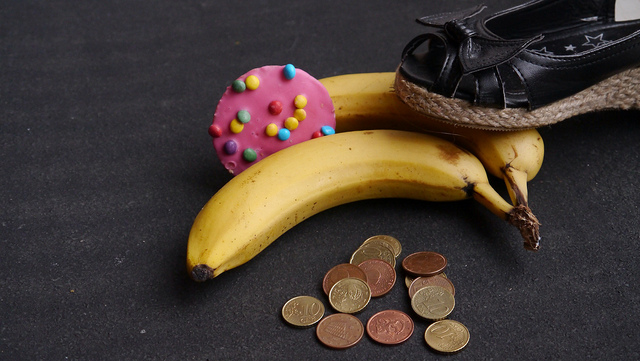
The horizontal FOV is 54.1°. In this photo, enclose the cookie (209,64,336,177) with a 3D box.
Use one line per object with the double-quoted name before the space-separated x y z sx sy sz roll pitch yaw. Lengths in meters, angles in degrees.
"cookie" -0.178 -0.228 2.217 0.394 0.133 0.393 -7 97 -9
